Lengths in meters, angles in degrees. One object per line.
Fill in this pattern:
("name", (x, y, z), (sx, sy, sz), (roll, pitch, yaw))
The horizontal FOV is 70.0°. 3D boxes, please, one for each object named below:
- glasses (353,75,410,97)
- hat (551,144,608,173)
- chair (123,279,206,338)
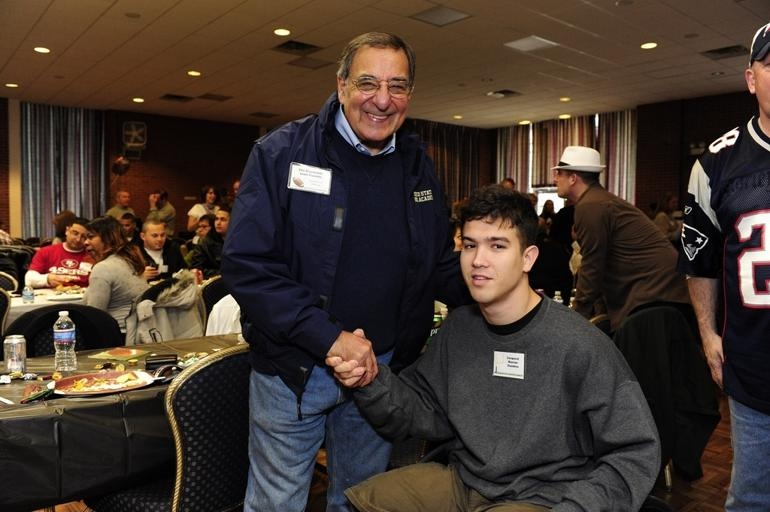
("glasses", (-0.019, -0.687, 2.246), (0.223, 0.084, 0.046), (-1, 1, -6))
("hat", (1.501, -0.770, 4.205), (0.310, 0.114, 0.255), (6, 4, 6))
("chair", (-1.603, 0.396, 4.025), (0.459, 0.486, 0.286), (-8, 6, -44))
